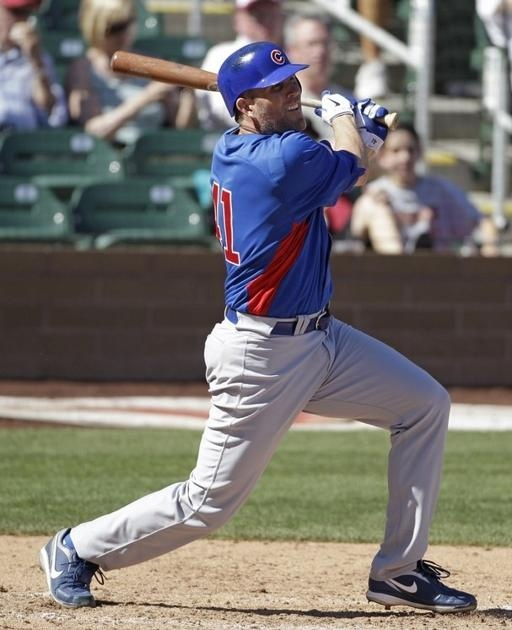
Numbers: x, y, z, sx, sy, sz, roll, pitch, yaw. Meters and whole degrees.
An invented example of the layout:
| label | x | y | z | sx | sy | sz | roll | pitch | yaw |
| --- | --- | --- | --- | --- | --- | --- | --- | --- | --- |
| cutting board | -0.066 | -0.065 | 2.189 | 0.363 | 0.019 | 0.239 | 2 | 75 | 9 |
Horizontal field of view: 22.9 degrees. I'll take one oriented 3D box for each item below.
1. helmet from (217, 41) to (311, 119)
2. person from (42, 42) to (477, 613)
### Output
| label | x | y | z | sx | sy | sz | roll | pitch | yaw |
| --- | --- | --- | --- | --- | --- | --- | --- | --- | --- |
| helmet | -0.017 | -0.752 | 4.058 | 0.344 | 0.242 | 0.150 | 5 | 5 | 36 |
| person | 0.063 | 0.129 | 4.121 | 1.328 | 1.720 | 0.397 | 2 | 5 | -13 |
